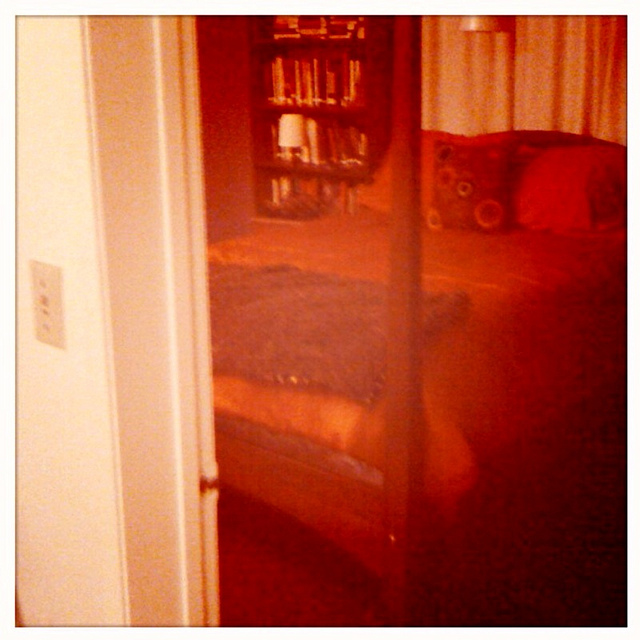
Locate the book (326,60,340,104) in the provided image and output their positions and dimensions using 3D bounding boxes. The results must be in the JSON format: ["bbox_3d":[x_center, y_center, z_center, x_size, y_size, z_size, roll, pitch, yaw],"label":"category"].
[{"bbox_3d":[0.025,-0.453,1.182,0.013,0.064,0.031,-23,39,-37],"label":"book"}]

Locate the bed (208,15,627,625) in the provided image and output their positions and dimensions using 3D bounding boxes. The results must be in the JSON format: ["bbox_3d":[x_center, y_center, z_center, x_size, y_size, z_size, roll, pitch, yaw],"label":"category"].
[{"bbox_3d":[0.296,-0.107,1.424,0.655,0.747,1.137,16,43,28],"label":"bed"}]

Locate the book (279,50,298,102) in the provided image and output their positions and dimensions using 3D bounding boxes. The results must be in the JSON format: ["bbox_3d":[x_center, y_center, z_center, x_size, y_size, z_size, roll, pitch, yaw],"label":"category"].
[{"bbox_3d":[-0.059,-0.458,1.189,0.030,0.087,0.021,-3,17,-8],"label":"book"}]

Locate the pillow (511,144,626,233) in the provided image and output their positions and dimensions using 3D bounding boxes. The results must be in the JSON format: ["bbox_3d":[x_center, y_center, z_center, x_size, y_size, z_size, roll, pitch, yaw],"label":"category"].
[{"bbox_3d":[0.456,-0.240,1.164,0.207,0.154,0.039,-3,17,-8],"label":"pillow"}]

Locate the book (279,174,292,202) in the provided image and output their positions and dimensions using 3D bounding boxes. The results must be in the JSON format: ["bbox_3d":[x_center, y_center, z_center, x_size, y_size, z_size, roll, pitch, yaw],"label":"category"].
[{"bbox_3d":[-0.066,-0.251,1.210,0.011,0.042,0.041,3,15,-7],"label":"book"}]
